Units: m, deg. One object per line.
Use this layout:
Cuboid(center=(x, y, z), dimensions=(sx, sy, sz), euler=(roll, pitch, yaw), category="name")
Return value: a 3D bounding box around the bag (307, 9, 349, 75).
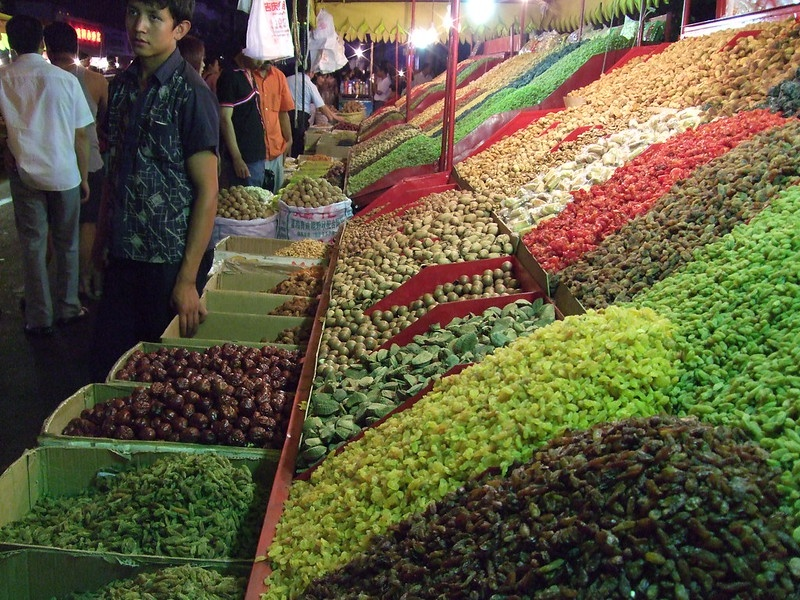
Cuboid(center=(-1.337, -4.623, 11.185), dimensions=(0.787, 1.255, 0.484), euler=(-5, 7, -4), category="bag")
